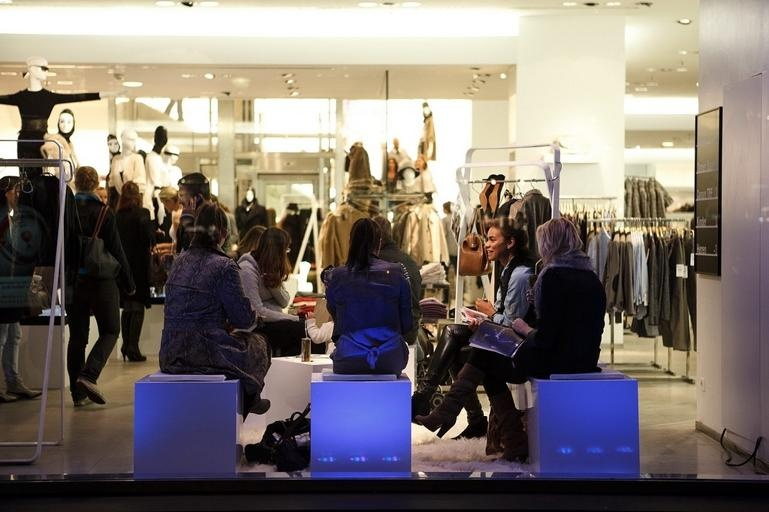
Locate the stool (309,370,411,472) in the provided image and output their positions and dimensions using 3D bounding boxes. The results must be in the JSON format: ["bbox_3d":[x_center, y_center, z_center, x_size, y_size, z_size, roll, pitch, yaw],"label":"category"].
[{"bbox_3d":[-0.167,1.165,5.264,0.660,0.673,0.628,-1,2,0],"label":"stool"}]

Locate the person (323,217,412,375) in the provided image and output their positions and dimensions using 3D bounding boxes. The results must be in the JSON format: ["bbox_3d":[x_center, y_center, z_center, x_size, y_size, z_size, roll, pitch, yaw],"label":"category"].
[{"bbox_3d":[-0.102,0.299,5.025,0.637,1.128,0.272,-1,8,-5],"label":"person"}]

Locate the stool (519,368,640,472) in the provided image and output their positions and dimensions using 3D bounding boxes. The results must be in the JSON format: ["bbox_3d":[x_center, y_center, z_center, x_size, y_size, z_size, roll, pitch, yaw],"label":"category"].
[{"bbox_3d":[1.488,1.134,5.230,0.767,0.676,0.775,-3,8,0],"label":"stool"}]

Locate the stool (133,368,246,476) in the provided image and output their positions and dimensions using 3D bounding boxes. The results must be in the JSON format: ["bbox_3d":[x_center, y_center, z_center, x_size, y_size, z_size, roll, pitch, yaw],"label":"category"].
[{"bbox_3d":[-1.426,1.152,5.207,0.699,0.666,0.717,1,3,-4],"label":"stool"}]

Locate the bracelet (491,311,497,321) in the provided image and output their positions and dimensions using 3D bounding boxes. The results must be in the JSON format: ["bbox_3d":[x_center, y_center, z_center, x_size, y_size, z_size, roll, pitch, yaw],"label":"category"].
[{"bbox_3d":[0.857,0.468,5.439,0.028,0.068,0.061,-3,-31,1],"label":"bracelet"}]

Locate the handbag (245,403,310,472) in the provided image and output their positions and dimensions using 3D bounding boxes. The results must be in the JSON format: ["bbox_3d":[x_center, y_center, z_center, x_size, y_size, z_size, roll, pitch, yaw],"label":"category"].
[{"bbox_3d":[-0.747,1.394,5.214,0.429,0.412,0.309,-4,-7,26],"label":"handbag"}]
